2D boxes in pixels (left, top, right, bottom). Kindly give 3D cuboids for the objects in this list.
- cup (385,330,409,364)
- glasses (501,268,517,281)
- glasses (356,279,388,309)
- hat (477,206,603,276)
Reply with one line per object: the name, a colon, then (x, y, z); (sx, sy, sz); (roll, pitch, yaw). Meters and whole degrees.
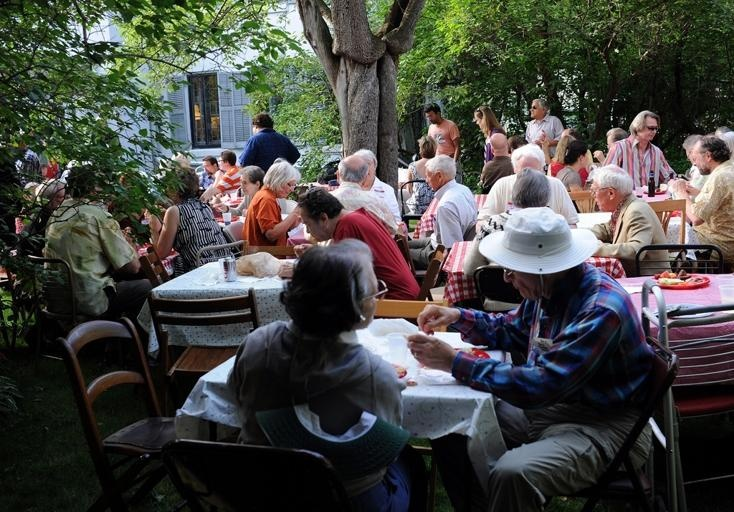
cup: (0.150, 0.458, 2.858); (0.089, 0.137, 0.138); (-7, 1, -20)
glasses: (0.688, 0.078, 2.861); (0.062, 0.090, 0.040); (-1, -6, 6)
glasses: (0.014, 0.149, 2.304); (0.114, 0.040, 0.114); (0, 7, 16)
hat: (0.800, -0.074, 2.788); (0.525, 0.291, 0.320); (0, 9, 21)
